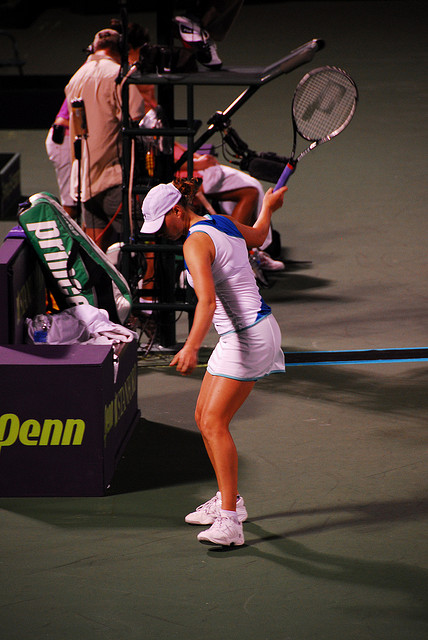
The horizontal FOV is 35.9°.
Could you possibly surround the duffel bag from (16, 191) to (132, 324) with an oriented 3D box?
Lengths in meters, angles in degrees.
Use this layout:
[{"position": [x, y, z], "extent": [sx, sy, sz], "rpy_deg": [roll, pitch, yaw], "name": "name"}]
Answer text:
[{"position": [-0.756, -0.321, 3.647], "extent": [0.459, 0.746, 0.491], "rpy_deg": [0, 9, 7], "name": "duffel bag"}]
